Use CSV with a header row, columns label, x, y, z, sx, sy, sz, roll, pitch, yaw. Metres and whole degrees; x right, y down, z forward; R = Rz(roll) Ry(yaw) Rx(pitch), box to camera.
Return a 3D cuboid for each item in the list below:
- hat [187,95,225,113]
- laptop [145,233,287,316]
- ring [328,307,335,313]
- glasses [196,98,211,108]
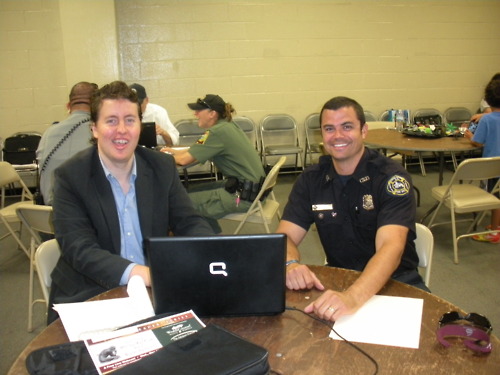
label,x,y,z,sx,sy,sz,roll,pitch,yaw
hat,-0.404,-0.759,3.905,0.276,0.116,0.174,0,20,-3
laptop,-0.125,0.226,1.580,0.495,0.329,0.325,-1,15,-2
ring,0.320,0.480,1.650,0.017,0.017,0.004,1,-22,11
glasses,-0.431,-0.775,3.861,0.113,0.035,0.079,35,39,6
